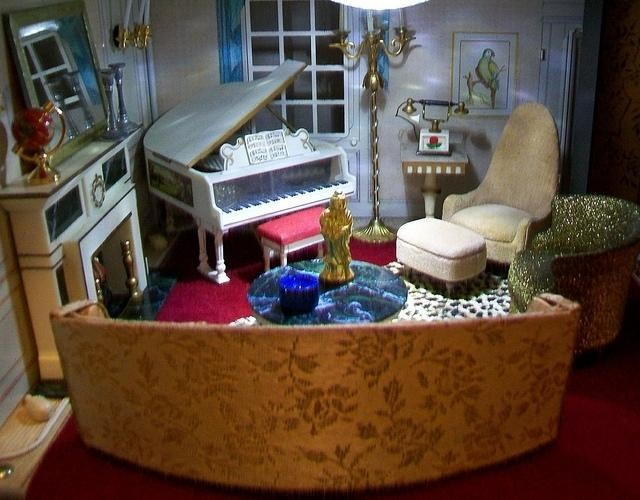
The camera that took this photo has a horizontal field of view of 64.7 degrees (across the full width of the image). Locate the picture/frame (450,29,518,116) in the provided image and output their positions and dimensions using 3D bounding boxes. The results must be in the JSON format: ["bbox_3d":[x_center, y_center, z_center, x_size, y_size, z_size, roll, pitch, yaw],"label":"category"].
[{"bbox_3d":[1.642,-1.819,5.072,0.817,1.247,0.044,1,20,4],"label":"picture/frame"}]

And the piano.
[{"bbox_3d":[-0.828,-0.778,4.954,1.508,1.796,2.079,-23,36,-36],"label":"piano"}]

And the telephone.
[{"bbox_3d":[1.152,-1.191,5.026,0.664,0.593,0.355,5,-5,11],"label":"telephone"}]

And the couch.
[{"bbox_3d":[-0.011,0.417,1.412,1.423,0.502,0.188,0,24,2],"label":"couch"}]

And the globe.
[{"bbox_3d":[-1.553,-0.601,2.823,0.280,0.413,0.198,-13,27,-38],"label":"globe"}]

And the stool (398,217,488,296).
[{"bbox_3d":[0.951,-0.035,4.116,0.577,0.622,0.747,-12,22,-28],"label":"stool"}]
